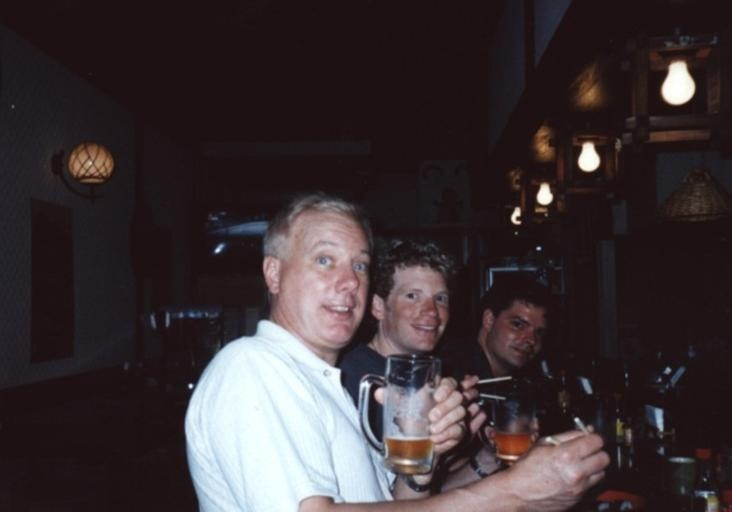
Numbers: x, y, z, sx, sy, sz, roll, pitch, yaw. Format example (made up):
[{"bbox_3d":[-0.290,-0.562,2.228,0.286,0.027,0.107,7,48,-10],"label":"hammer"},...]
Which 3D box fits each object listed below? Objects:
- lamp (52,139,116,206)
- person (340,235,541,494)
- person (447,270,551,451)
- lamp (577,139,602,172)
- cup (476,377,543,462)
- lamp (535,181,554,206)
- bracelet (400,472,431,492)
[{"bbox_3d":[-3.476,-1.059,7.408,0.471,0.577,0.667,-5,5,29],"label":"lamp"},{"bbox_3d":[0.503,0.723,3.941,1.005,1.711,0.808,-14,-47,14],"label":"person"},{"bbox_3d":[1.271,0.648,5.300,0.730,1.047,0.774,16,5,-5],"label":"person"},{"bbox_3d":[1.778,-0.810,4.786,0.197,0.298,0.203,-1,0,-1],"label":"lamp"},{"bbox_3d":[0.870,1.033,3.805,0.484,0.591,0.430,1,-20,-1],"label":"cup"},{"bbox_3d":[1.729,-0.611,5.828,0.187,0.281,0.192,0,-1,-3],"label":"lamp"},{"bbox_3d":[0.287,1.287,3.371,0.111,0.054,0.150,8,-14,39],"label":"bracelet"}]
